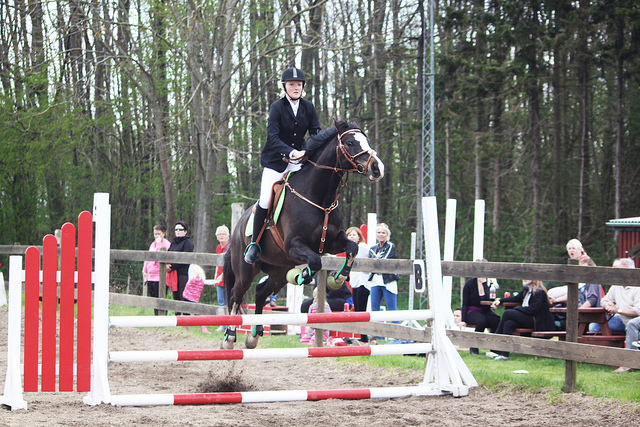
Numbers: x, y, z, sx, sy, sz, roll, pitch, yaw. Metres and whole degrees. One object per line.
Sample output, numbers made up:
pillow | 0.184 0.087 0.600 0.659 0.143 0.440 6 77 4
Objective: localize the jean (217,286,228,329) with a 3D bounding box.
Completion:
jean | -2.763 2.708 41.371 0.338 1.373 0.433 -6 -10 -3

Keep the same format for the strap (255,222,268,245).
strap | -1.626 0.596 39.821 0.133 0.882 0.158 21 10 -27

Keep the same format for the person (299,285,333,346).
person | -0.113 3.053 42.213 0.737 1.873 0.840 1 -1 -16

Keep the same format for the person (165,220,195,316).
person | -4.173 1.639 43.268 0.832 2.789 0.801 0 -1 11

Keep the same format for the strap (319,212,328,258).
strap | 0.057 0.569 39.269 0.134 1.309 0.182 14 -11 -4

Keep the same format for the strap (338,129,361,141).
strap | 0.790 -2.100 39.092 0.558 0.279 0.103 1 -2 -6

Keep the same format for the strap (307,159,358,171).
strap | 0.339 -1.271 39.292 1.405 0.293 0.192 1 -2 17

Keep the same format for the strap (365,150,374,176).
strap | 1.304 -1.303 38.843 0.091 0.689 0.119 27 -14 -40
